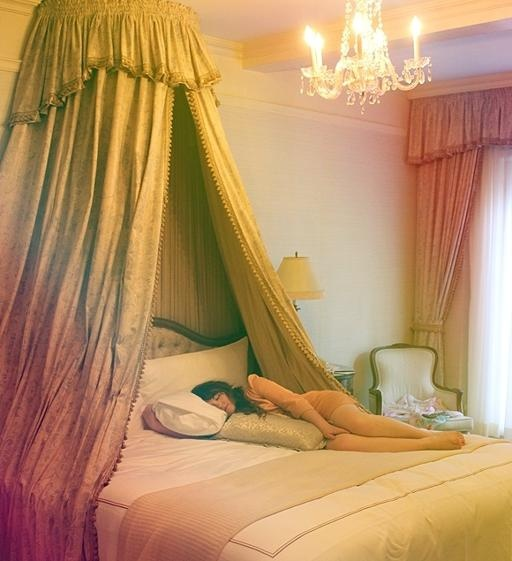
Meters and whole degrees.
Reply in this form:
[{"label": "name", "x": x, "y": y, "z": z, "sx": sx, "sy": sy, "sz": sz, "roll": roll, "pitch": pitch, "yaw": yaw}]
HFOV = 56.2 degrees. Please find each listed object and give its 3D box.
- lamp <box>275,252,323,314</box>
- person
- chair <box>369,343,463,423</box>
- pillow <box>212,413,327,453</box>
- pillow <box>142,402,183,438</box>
[{"label": "lamp", "x": 0.317, "y": 0.015, "z": 3.546, "sx": 0.358, "sy": 0.484, "sz": 0.377, "roll": -1, "pitch": 10, "yaw": 37}, {"label": "person", "x": 0.421, "y": 0.798, "z": 2.872, "sx": 1.470, "sy": 0.388, "sz": 0.403, "roll": 7, "pitch": -33, "yaw": 19}, {"label": "chair", "x": 1.402, "y": 1.086, "z": 4.361, "sx": 0.752, "sy": 0.908, "sz": 0.610, "roll": -1, "pitch": -1, "yaw": -6}, {"label": "pillow", "x": 0.087, "y": 0.781, "z": 2.500, "sx": 0.328, "sy": 0.076, "sz": 0.226, "roll": -2, "pitch": -6, "yaw": 31}, {"label": "pillow", "x": -0.525, "y": 0.751, "z": 2.610, "sx": 0.191, "sy": 0.069, "sz": 0.154, "roll": -3, "pitch": -32, "yaw": 28}]
